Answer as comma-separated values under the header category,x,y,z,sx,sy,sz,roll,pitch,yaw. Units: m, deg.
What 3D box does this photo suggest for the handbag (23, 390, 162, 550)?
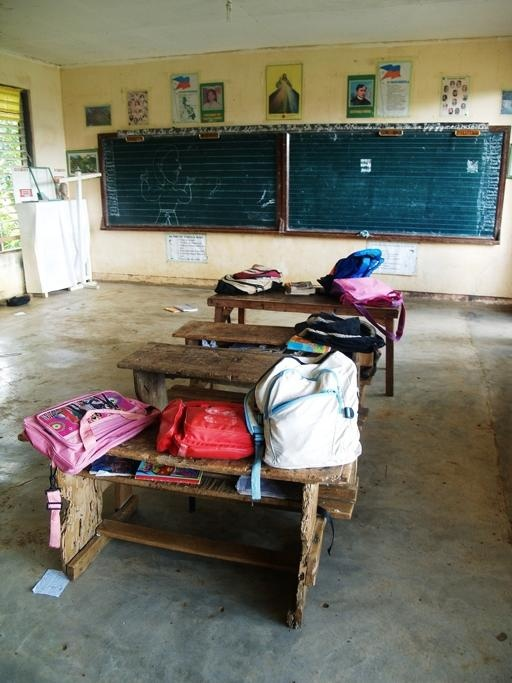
category,x,y,z,sx,sy,sz,roll,pitch,yaw
handbag,-0.519,0.303,1.684,0.302,0.204,0.417,10,19,31

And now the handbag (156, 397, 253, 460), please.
category,x,y,z,sx,sy,sz,roll,pitch,yaw
handbag,-0.153,0.267,1.526,0.282,0.101,0.259,-1,16,-3

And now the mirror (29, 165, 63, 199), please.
category,x,y,z,sx,sy,sz,roll,pitch,yaw
mirror,-2.557,-1.943,6.208,0.171,0.372,0.380,7,18,22

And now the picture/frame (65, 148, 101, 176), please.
category,x,y,z,sx,sy,sz,roll,pitch,yaw
picture/frame,-2.262,-2.354,6.652,0.508,0.319,0.081,8,20,25

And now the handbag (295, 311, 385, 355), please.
category,x,y,z,sx,sy,sz,roll,pitch,yaw
handbag,0.427,-0.008,2.400,0.294,0.089,0.279,3,15,-22

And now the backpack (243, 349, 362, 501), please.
category,x,y,z,sx,sy,sz,roll,pitch,yaw
backpack,0.131,0.238,1.479,0.327,0.327,0.340,0,17,1

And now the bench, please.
category,x,y,z,sx,sy,sz,roll,pitch,yaw
bench,-0.152,0.459,1.808,0.981,0.475,1.002,3,22,9
